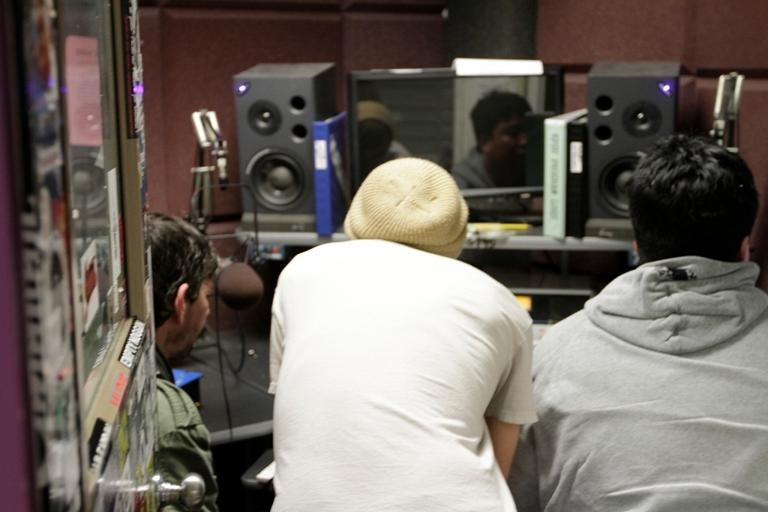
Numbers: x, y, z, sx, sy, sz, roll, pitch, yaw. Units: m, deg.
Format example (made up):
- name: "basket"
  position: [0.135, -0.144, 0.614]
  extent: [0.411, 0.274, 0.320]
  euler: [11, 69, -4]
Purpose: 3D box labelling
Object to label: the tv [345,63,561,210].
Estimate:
- name: "tv"
  position: [0.228, -0.407, 2.668]
  extent: [0.739, 0.717, 0.402]
  euler: [0, 12, 6]
